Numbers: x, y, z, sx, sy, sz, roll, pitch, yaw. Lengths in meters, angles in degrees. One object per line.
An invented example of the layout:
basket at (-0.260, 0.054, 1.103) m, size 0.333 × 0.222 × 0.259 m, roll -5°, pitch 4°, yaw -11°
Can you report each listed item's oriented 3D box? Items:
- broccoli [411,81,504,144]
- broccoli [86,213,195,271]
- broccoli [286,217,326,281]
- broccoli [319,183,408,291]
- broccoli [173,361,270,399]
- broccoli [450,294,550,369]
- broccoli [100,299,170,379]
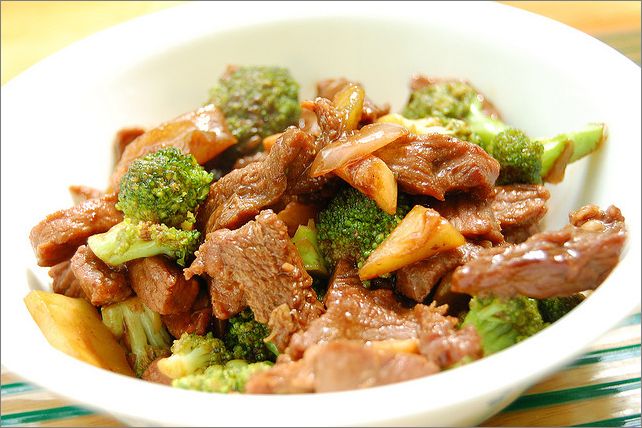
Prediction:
broccoli at (0.775, -0.605, 3.365) m, size 0.447 × 0.112 × 0.409 m, roll 35°, pitch 40°, yaw 2°
broccoli at (-0.859, 0.127, 2.772) m, size 0.487 × 0.185 × 0.272 m, roll 0°, pitch 22°, yaw -34°
broccoli at (-0.061, 0.166, 2.799) m, size 0.208 × 0.056 × 0.211 m, roll 12°, pitch 62°, yaw -11°
broccoli at (0.230, 0.086, 2.820) m, size 0.389 × 0.463 × 0.164 m, roll 10°, pitch -11°, yaw 41°
broccoli at (-0.428, 0.689, 2.445) m, size 0.212 × 0.084 × 0.179 m, roll -7°, pitch 0°, yaw 19°
broccoli at (0.776, 0.444, 2.549) m, size 0.341 × 0.196 × 0.266 m, roll -19°, pitch 21°, yaw -7°
broccoli at (-0.895, 0.582, 2.845) m, size 0.347 × 0.354 × 0.134 m, roll -26°, pitch -6°, yaw -30°
